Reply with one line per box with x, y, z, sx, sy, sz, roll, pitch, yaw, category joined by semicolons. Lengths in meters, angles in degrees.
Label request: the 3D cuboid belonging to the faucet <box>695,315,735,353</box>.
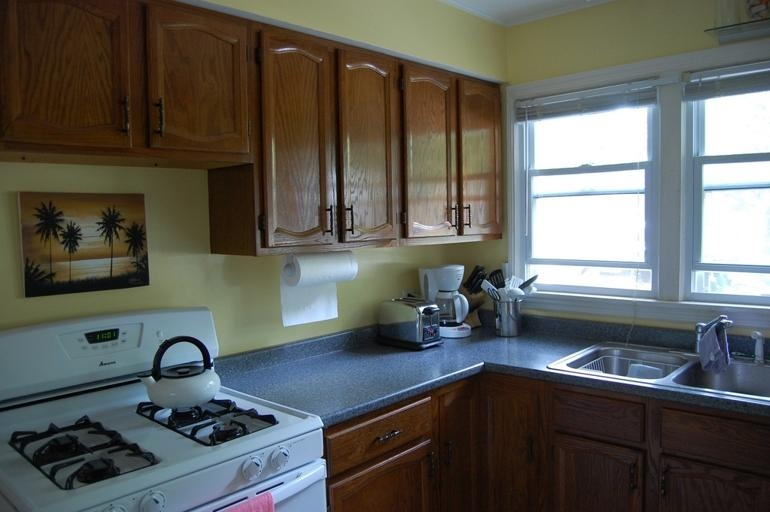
1.702;0.425;2.847;0.151;0.219;0.272;7;13;30;faucet

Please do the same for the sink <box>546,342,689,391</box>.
1.232;0.577;2.901;0.478;0.201;0.525;1;3;41;sink

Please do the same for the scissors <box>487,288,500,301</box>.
0.682;0.237;3.426;0.083;0.084;0.058;1;11;6;scissors

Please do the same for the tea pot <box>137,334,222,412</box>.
-0.817;0.460;2.303;0.337;0.289;0.286;-4;3;-11;tea pot

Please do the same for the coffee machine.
0.386;0.248;3.497;0.290;0.470;0.295;8;10;36;coffee machine

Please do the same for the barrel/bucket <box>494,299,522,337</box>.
0.768;0.384;3.429;0.156;0.232;0.097;2;11;11;barrel/bucket

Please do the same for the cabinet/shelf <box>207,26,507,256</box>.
-0.065;-0.575;2.981;1.722;1.107;0.324;-8;14;-37;cabinet/shelf

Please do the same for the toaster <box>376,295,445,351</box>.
0.148;0.405;3.311;0.377;0.256;0.261;0;2;43;toaster
